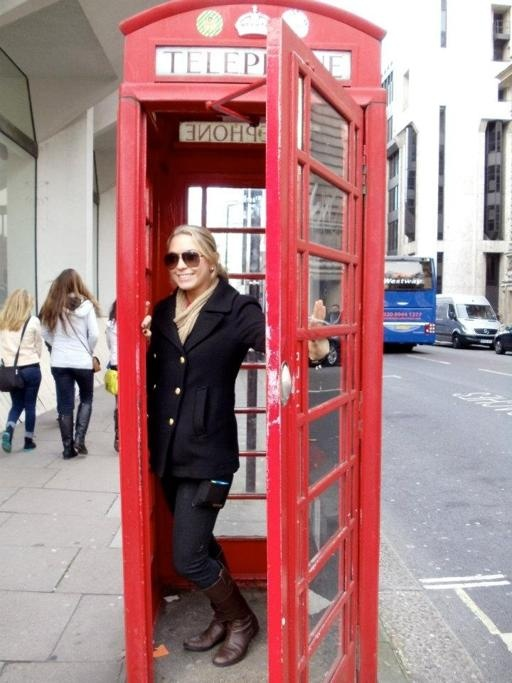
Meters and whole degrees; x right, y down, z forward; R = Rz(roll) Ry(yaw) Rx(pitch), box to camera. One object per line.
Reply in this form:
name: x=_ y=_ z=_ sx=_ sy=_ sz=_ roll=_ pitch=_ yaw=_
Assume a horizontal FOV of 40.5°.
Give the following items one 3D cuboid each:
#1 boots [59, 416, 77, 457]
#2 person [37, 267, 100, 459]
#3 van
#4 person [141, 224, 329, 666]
boots: x=-1.747 y=0.876 z=6.463 sx=0.146 sy=0.401 sz=0.228 roll=-1 pitch=1 yaw=-15
person: x=-1.739 y=0.196 z=6.500 sx=0.509 sy=1.756 sz=0.366 roll=-1 pitch=1 yaw=-21
van: x=8.634 y=-0.839 z=28.032 sx=1.327 sy=1.944 sz=3.685 roll=-1 pitch=-5 yaw=0
person: x=-0.200 y=0.438 z=2.799 sx=0.538 sy=1.823 sz=0.467 roll=0 pitch=1 yaw=9
